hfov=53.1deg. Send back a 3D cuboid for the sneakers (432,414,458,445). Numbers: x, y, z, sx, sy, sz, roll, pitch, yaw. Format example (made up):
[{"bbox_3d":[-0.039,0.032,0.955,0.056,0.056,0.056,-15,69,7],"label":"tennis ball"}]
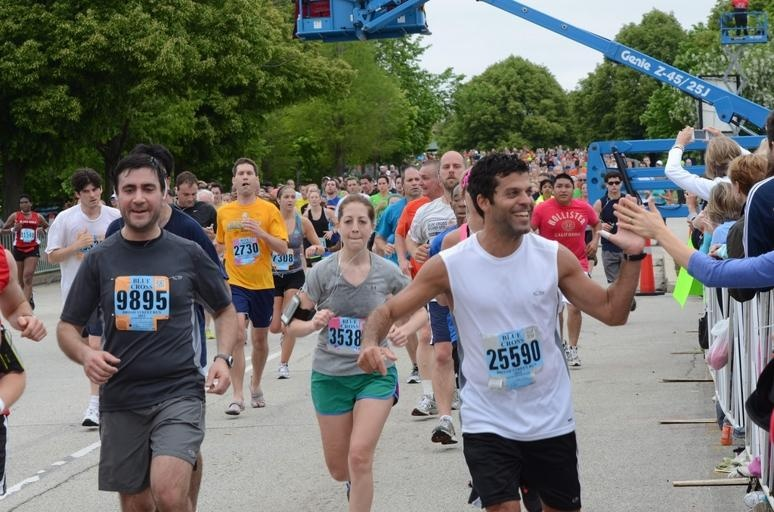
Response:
[{"bbox_3d":[0.547,1.657,7.321,0.175,0.260,0.228,1,6,31],"label":"sneakers"}]

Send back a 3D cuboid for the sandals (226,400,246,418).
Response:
[{"bbox_3d":[-1.675,1.705,8.625,0.121,0.101,0.335,-2,-7,1],"label":"sandals"}]

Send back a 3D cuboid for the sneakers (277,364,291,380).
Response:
[{"bbox_3d":[-1.378,1.546,10.348,0.167,0.163,0.369,0,-6,-1],"label":"sneakers"}]
